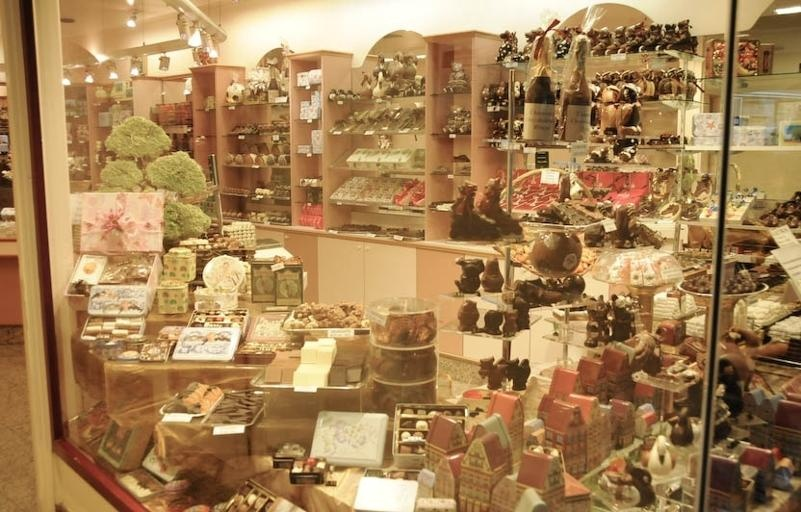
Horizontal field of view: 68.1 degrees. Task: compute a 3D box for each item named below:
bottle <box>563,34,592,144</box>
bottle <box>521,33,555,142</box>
[{"bbox_3d":[0.695,-0.667,2.345,0.109,0.425,0.263,3,10,14],"label":"bottle"},{"bbox_3d":[0.565,-0.673,2.392,0.118,0.436,0.267,3,10,13],"label":"bottle"}]
